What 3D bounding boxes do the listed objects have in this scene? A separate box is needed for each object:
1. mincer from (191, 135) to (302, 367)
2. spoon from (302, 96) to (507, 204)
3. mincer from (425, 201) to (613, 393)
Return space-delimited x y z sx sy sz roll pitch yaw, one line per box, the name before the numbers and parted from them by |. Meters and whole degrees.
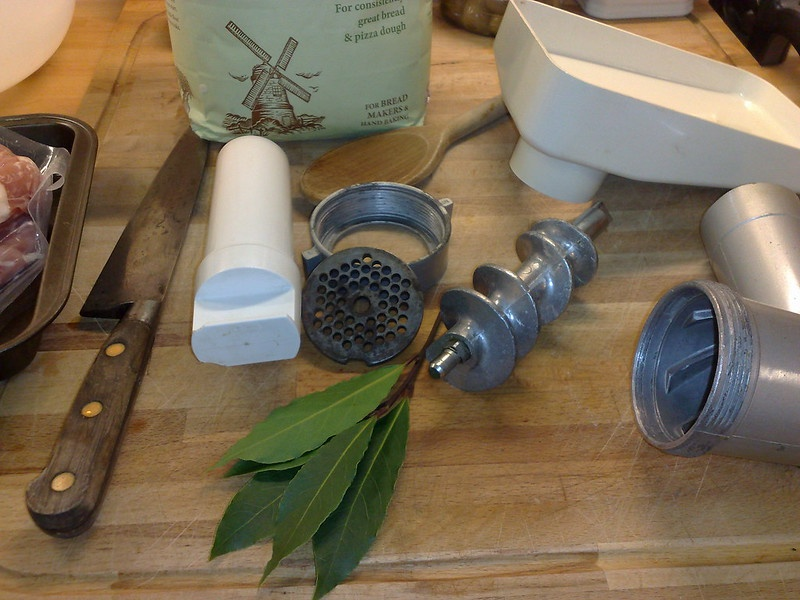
mincer | -0.196 -0.053 0.981 0.184 0.128 0.379 -4 38 -11
spoon | 0.056 -0.237 1.268 0.463 0.073 0.115 -23 73 -31
mincer | 0.190 -0.016 1.029 0.344 0.138 0.125 -39 103 -17
